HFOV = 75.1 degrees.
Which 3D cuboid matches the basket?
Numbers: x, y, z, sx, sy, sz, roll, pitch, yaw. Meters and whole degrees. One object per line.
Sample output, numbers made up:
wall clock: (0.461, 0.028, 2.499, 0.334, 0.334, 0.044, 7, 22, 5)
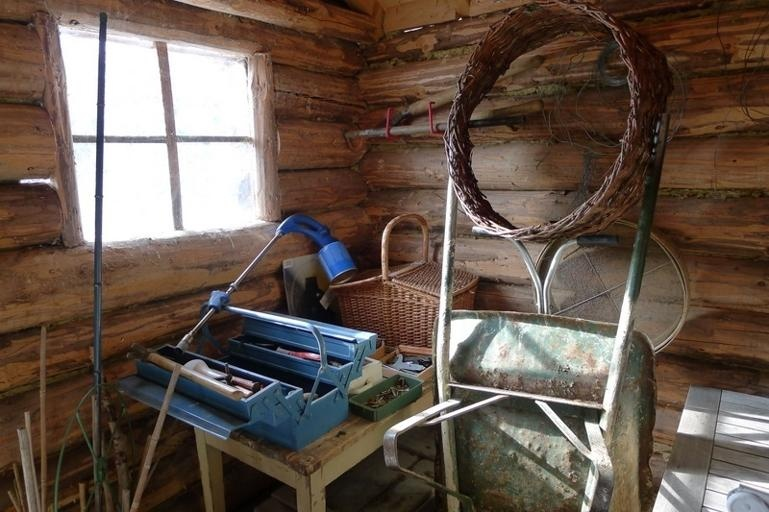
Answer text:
basket: (0.142, 0.146, 2.917, 0.796, 0.655, 0.486, 7, 19, 28)
